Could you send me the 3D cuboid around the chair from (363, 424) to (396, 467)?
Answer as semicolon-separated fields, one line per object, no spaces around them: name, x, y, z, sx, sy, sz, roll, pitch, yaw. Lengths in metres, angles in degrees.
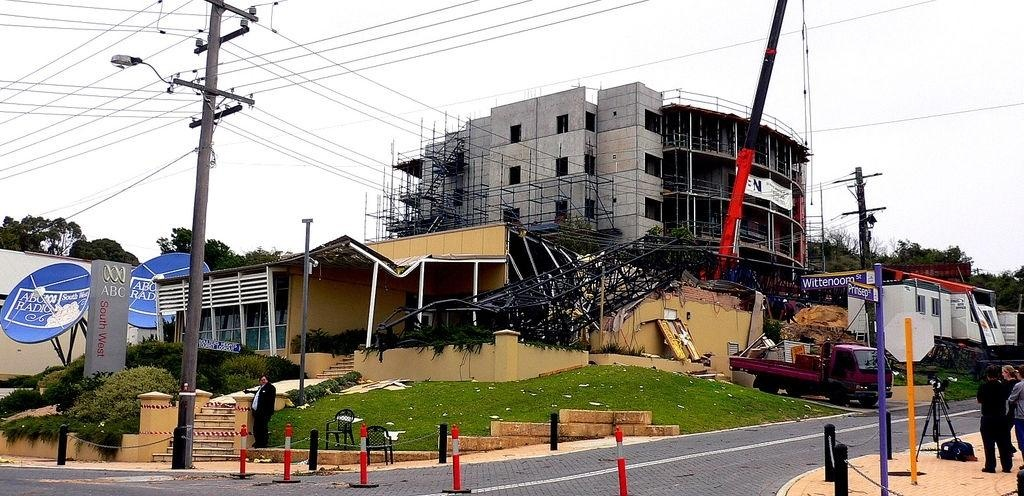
chair;-7.661;11.620;59.683;1.549;2.181;1.546;1;-14;-7

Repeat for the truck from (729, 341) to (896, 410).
truck;21.446;9.223;74.151;10.615;3.496;4.148;-4;-6;42
